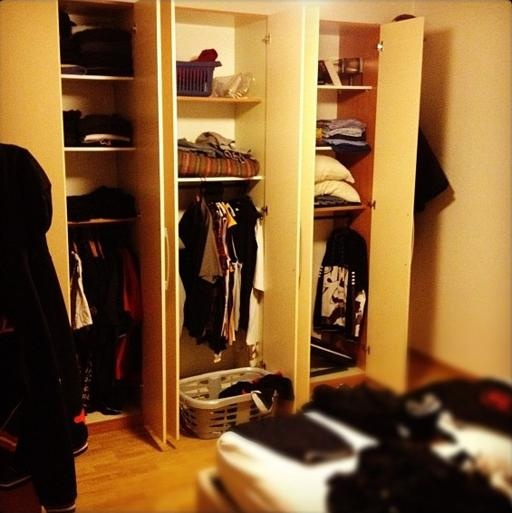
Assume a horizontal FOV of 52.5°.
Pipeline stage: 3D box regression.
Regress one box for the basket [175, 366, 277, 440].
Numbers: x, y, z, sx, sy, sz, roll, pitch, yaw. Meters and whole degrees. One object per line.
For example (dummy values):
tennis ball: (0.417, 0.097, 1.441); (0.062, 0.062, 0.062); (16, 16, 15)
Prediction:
basket: (-0.149, 0.638, 2.280); (0.326, 0.163, 0.240); (-8, 7, -28)
